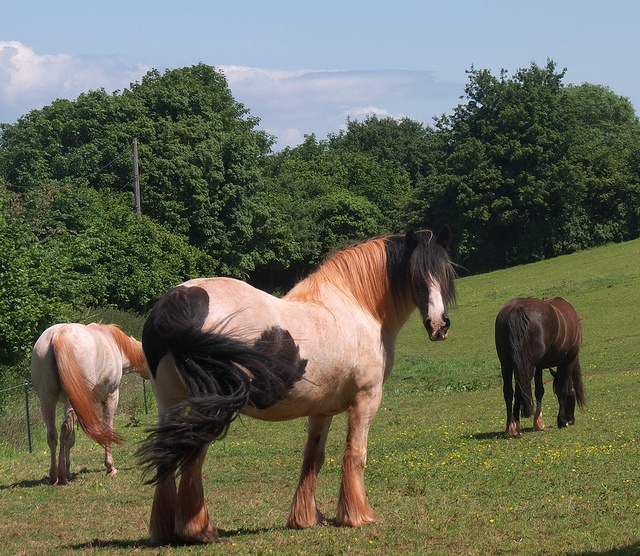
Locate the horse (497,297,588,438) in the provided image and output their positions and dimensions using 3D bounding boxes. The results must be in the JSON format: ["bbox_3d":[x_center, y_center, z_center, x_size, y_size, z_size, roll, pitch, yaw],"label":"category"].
[{"bbox_3d":[6.545,2.547,34.108,2.924,4.010,1.126,-3,-6,-34],"label":"horse"}]

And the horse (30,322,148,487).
[{"bbox_3d":[-6.111,3.341,32.264,3.400,4.415,5.235,-9,-7,15],"label":"horse"}]
